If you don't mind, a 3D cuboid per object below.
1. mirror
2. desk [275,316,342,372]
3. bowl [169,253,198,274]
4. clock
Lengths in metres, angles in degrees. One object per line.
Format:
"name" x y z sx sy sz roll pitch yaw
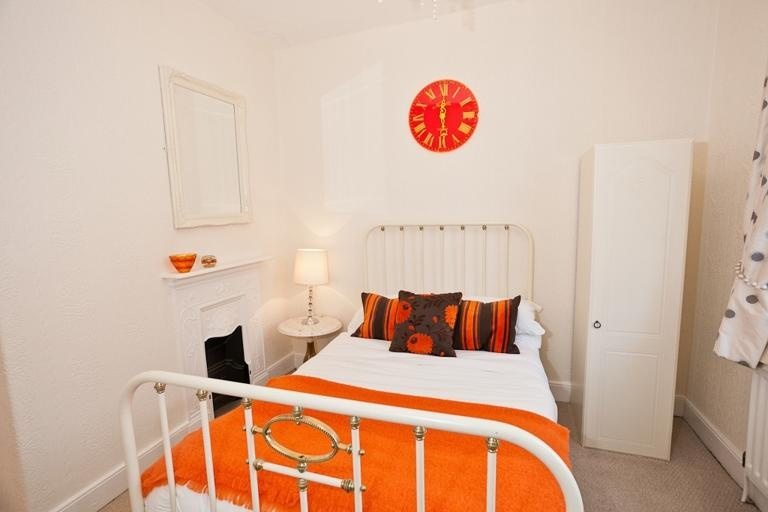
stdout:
"mirror" -1.399 -0.820 3.901 0.101 1.184 0.778 4 9 31
"desk" -0.695 0.837 4.509 0.624 0.449 0.630 -11 9 -29
"bowl" -1.501 0.063 3.602 0.147 0.104 0.147 -2 -7 0
"clock" 0.504 -1.200 4.184 0.595 0.598 0.012 3 8 22
